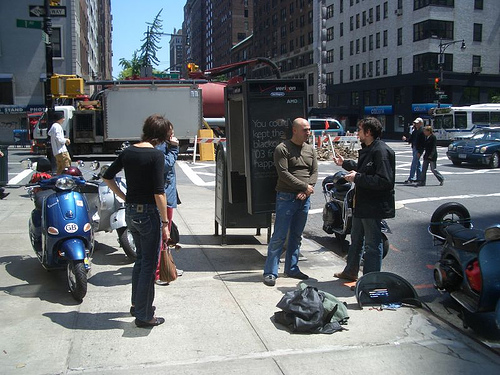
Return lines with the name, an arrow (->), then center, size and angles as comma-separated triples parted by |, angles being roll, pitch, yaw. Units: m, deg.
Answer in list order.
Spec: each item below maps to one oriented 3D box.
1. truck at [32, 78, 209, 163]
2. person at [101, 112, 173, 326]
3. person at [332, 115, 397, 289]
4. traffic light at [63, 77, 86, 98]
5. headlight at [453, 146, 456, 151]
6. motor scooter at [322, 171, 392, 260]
truck -> -7.076, -3.421, 24.971 | 9.035, 4.451, 3.203 | -2, -1, -2
person -> -1.315, 0.321, 5.361 | 0.767, 2.335, 1.208 | -2, 9, -17
person -> 1.622, 0.241, 6.259 | 0.749, 2.393, 1.258 | 4, 9, 18
traffic light -> -5.774, -3.269, 14.833 | 0.563, 0.623, 1.210 | -1, 9, -14
headlight -> 9.911, -1.864, 21.897 | 0.062, 0.215, 0.154 | -3, 9, -23
motor scooter -> 1.651, 0.459, 8.461 | 0.472, 1.404, 1.276 | 1, 8, 0
